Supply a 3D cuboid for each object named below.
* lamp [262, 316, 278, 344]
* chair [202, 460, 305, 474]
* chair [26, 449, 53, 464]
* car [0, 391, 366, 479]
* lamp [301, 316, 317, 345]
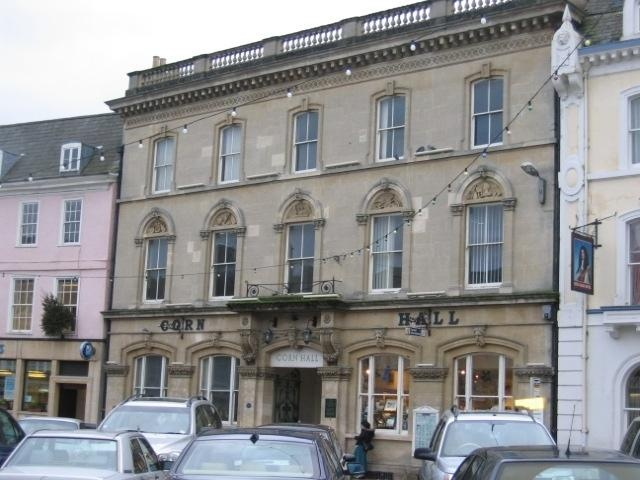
[{"bbox_3d":[-1.765,3.193,47.429,0.534,0.946,0.281,-7,-14,32],"label":"lamp"},{"bbox_3d":[-1.452,5.088,30.076,2.226,0.279,0.431,-1,-11,7],"label":"chair"},{"bbox_3d":[-6.540,5.107,31.673,0.365,0.227,0.350,3,-8,-24],"label":"chair"},{"bbox_3d":[-4.804,5.421,37.020,3.159,1.956,6.321,-5,-16,17],"label":"car"},{"bbox_3d":[-0.335,3.125,46.681,0.434,0.967,0.552,4,-12,-15],"label":"lamp"}]
